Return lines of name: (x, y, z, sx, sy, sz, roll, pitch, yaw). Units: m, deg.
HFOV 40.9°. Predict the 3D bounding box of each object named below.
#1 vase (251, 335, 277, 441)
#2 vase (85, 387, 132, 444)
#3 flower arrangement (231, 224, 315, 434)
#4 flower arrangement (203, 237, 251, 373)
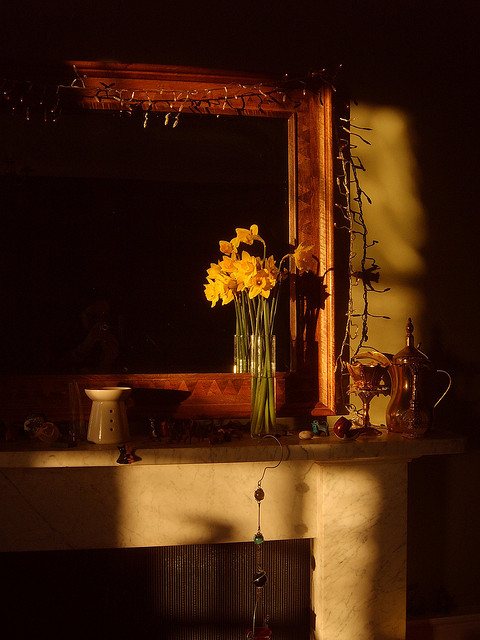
vase: (0.070, 0.183, 1.805, 0.074, 0.255, 0.123, 2, -1, -1)
vase: (-0.341, 0.256, 1.772, 0.148, 0.167, 0.135, 3, -4, -29)
flower arrangement: (0.091, 0.021, 1.869, 0.232, 0.517, 0.216, 2, -1, 6)
flower arrangement: (-0.010, -0.025, 1.929, 0.203, 0.431, 0.192, 0, -9, 8)
